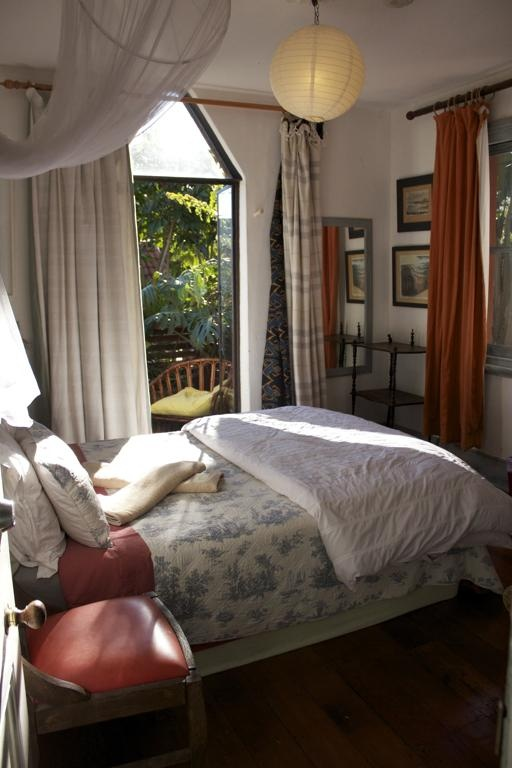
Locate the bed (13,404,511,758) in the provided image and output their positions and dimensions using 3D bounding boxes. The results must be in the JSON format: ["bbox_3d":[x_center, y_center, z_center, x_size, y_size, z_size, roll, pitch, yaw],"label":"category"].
[{"bbox_3d":[0.119,0.597,2.017,1.065,0.343,0.943,-7,16,-20],"label":"bed"}]

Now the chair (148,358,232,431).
[{"bbox_3d":[-0.499,0.071,4.834,0.602,0.781,0.540,1,3,15],"label":"chair"}]

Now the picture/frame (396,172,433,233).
[{"bbox_3d":[1.178,-1.349,4.211,0.036,0.494,0.505,-5,11,-23],"label":"picture/frame"}]

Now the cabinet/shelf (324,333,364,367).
[{"bbox_3d":[0.672,-0.308,4.528,0.269,0.270,0.272,-5,12,-24],"label":"cabinet/shelf"}]

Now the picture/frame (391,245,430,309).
[{"bbox_3d":[1.186,-0.825,4.349,0.033,0.519,0.498,-4,10,-32],"label":"picture/frame"}]

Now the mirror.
[{"bbox_3d":[0.710,-0.681,4.486,0.455,1.208,0.050,-4,8,-22],"label":"mirror"}]
